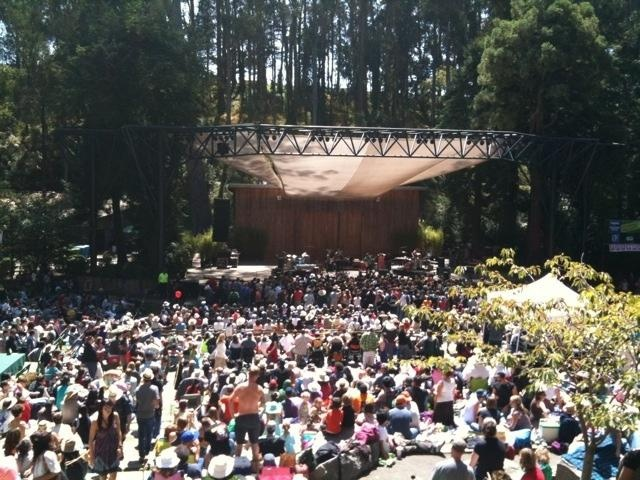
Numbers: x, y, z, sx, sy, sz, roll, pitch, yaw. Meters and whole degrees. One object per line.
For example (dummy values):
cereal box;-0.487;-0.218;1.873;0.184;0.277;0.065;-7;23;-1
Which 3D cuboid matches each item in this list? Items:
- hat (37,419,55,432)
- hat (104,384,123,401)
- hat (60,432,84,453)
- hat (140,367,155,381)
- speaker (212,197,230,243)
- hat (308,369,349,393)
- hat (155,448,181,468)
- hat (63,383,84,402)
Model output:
hat;-6.226;4.198;18.433;0.338;0.370;0.362;3;3;-29
hat;-4.882;3.659;19.135;0.417;0.370;1.052;-1;5;-15
hat;-5.590;4.567;18.294;0.492;0.494;0.862;-1;5;-18
hat;-4.260;3.303;19.982;0.273;0.315;0.561;-1;4;-13
speaker;-4.360;-0.882;35.542;0.920;2.021;1.892;1;2;1
hat;0.070;3.673;21.374;0.613;0.301;0.719;6;12;24
hat;-3.381;4.813;17.916;0.521;0.443;0.331;-1;4;-12
hat;-6.102;3.746;20.120;0.384;0.393;0.950;0;4;-4
